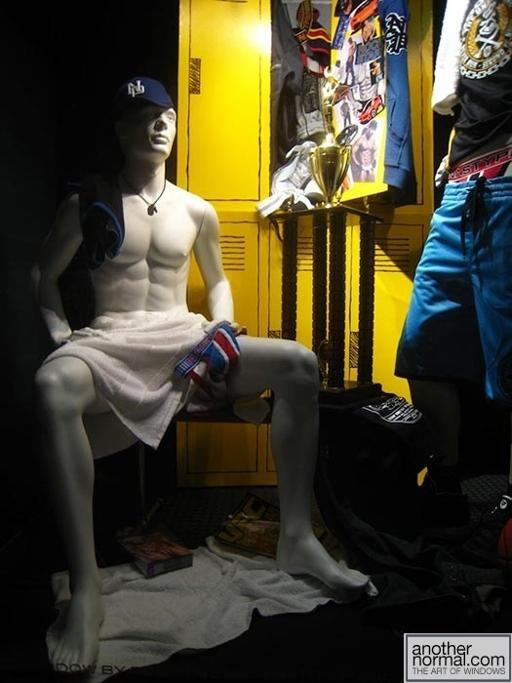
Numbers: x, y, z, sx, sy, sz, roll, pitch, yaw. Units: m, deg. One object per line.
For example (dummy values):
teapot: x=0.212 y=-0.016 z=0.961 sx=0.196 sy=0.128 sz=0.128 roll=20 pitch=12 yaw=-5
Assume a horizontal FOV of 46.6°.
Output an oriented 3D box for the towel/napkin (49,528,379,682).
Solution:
towel/napkin: x=-0.163 y=0.586 z=1.455 sx=0.570 sy=0.088 sz=0.429 roll=-4 pitch=9 yaw=-28

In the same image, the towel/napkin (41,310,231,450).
towel/napkin: x=-0.314 y=0.087 z=1.552 sx=0.411 sy=0.315 sz=0.331 roll=-1 pitch=7 yaw=-13

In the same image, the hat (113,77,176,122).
hat: x=-0.299 y=-0.646 z=1.621 sx=0.129 sy=0.073 sz=0.096 roll=2 pitch=12 yaw=42
